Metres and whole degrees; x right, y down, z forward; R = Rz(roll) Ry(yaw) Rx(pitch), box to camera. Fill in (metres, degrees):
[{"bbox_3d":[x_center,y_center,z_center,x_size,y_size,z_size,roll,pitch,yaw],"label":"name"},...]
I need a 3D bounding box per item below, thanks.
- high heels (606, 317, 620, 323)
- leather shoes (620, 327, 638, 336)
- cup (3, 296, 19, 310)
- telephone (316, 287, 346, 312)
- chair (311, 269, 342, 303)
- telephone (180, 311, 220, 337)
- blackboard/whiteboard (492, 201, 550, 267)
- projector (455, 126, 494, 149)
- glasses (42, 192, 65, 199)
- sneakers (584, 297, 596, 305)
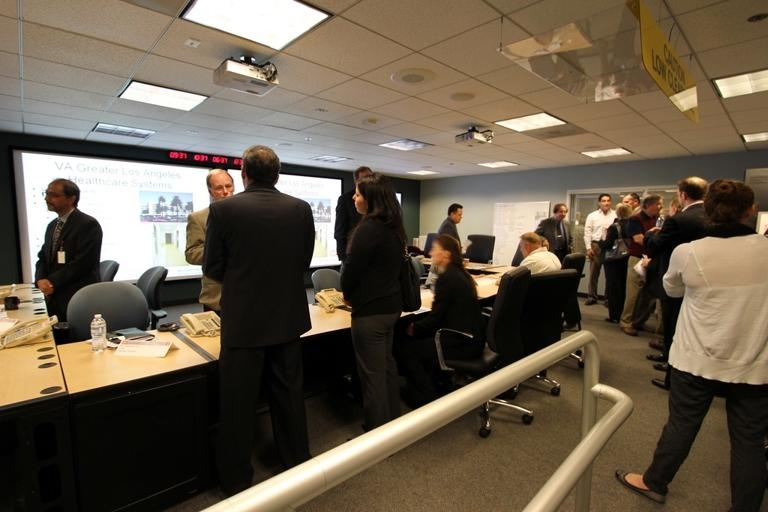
[{"bbox_3d":[3.075,0.859,6.747,0.051,0.058,0.151,-1,-2,-26],"label":"high heels"},{"bbox_3d":[3.057,0.934,6.250,0.080,0.080,0.195,0,-1,-16],"label":"leather shoes"},{"bbox_3d":[-3.230,0.410,4.356,0.064,0.094,0.099,-8,-21,9],"label":"cup"},{"bbox_3d":[-0.492,0.394,4.571,0.181,0.072,0.226,-8,18,-37],"label":"telephone"},{"bbox_3d":[-0.576,0.307,5.175,0.282,0.348,0.273,-1,4,-27],"label":"chair"},{"bbox_3d":[-1.417,0.546,3.900,0.225,0.071,0.231,-5,40,-46],"label":"telephone"},{"bbox_3d":[2.287,-0.425,8.312,0.091,1.016,1.204,3,4,-43],"label":"blackboard/whiteboard"},{"bbox_3d":[1.119,-1.494,6.347,0.279,0.098,0.277,6,-14,-42],"label":"projector"},{"bbox_3d":[-3.043,-0.559,4.596,0.097,0.077,0.325,-6,7,-44],"label":"glasses"},{"bbox_3d":[3.262,0.722,7.989,0.239,0.159,0.082,8,-10,-40],"label":"sneakers"}]
